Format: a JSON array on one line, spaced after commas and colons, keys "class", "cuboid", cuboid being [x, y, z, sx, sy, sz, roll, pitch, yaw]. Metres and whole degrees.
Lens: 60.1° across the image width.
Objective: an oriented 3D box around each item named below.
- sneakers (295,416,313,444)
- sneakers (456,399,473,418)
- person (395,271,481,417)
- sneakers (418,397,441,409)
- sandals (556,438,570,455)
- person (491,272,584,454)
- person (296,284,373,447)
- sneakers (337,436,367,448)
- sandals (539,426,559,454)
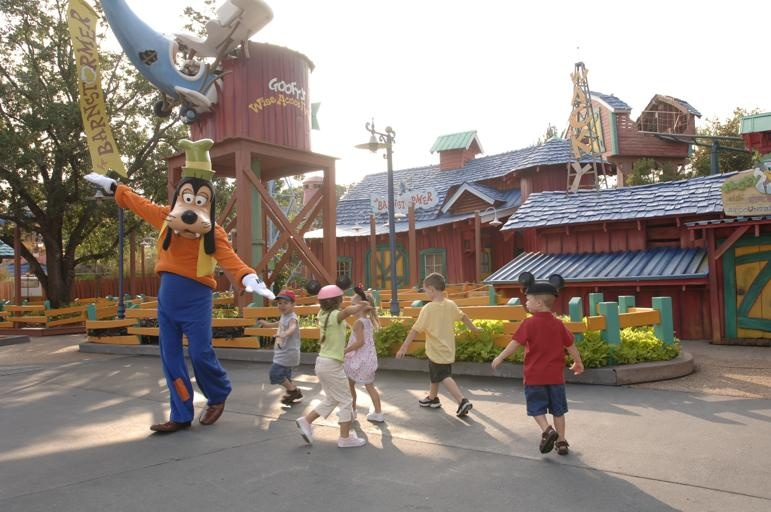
[{"class": "sneakers", "cuboid": [-1.170, 2.437, 9.472, 0.216, 0.445, 0.159, -17, 13, -6]}, {"class": "sneakers", "cuboid": [1.219, 2.329, 10.378, 0.240, 0.267, 0.329, -1, 9, 5]}, {"class": "person", "cuboid": [0.863, 1.381, 10.670, 1.071, 2.223, 1.218, 2, 9, 24]}, {"class": "sneakers", "cuboid": [0.717, 2.373, 10.805, 0.365, 0.185, 0.141, 5, -8, 16]}, {"class": "sandals", "cuboid": [2.387, 2.588, 9.011, 0.118, 0.092, 0.216, 0, 5, 6]}, {"class": "person", "cuboid": [2.167, 1.518, 9.174, 0.933, 2.239, 0.862, 1, 9, 20]}, {"class": "person", "cuboid": [-0.771, 1.544, 9.706, 0.950, 2.120, 1.168, -2, 9, -2]}, {"class": "sneakers", "cuboid": [-0.476, 2.585, 9.325, 0.370, 0.170, 0.144, 1, -3, -14]}, {"class": "sandals", "cuboid": [2.192, 2.458, 8.940, 0.193, 0.398, 0.167, -3, 33, -23]}]
